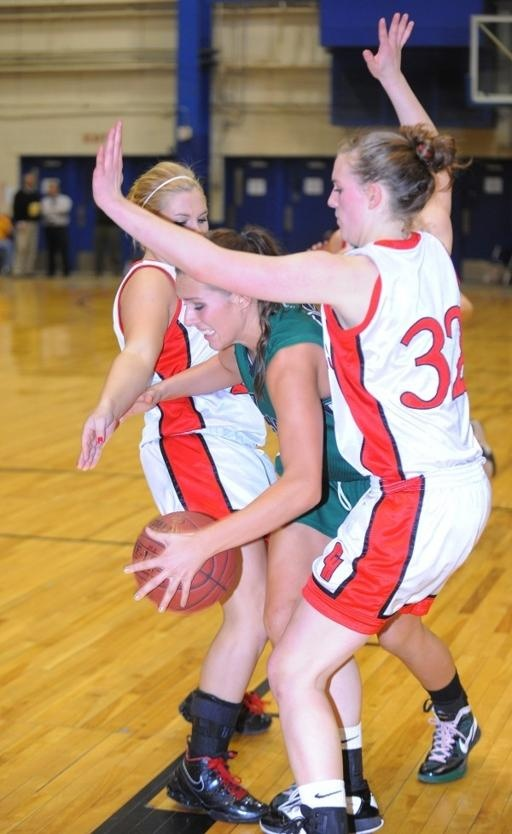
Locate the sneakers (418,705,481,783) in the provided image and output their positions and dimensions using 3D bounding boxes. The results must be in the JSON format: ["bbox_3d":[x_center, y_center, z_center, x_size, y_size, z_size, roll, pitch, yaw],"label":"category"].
[{"bbox_3d":[0.406,0.686,1.599,0.069,0.103,0.158,14,57,40],"label":"sneakers"}]

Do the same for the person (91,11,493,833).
[{"bbox_3d":[0.178,0.129,1.325,0.441,1.299,0.824,9,11,42],"label":"person"}]

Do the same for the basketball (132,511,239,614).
[{"bbox_3d":[-0.156,0.243,1.377,0.123,0.122,0.120,36,19,-21],"label":"basketball"}]
